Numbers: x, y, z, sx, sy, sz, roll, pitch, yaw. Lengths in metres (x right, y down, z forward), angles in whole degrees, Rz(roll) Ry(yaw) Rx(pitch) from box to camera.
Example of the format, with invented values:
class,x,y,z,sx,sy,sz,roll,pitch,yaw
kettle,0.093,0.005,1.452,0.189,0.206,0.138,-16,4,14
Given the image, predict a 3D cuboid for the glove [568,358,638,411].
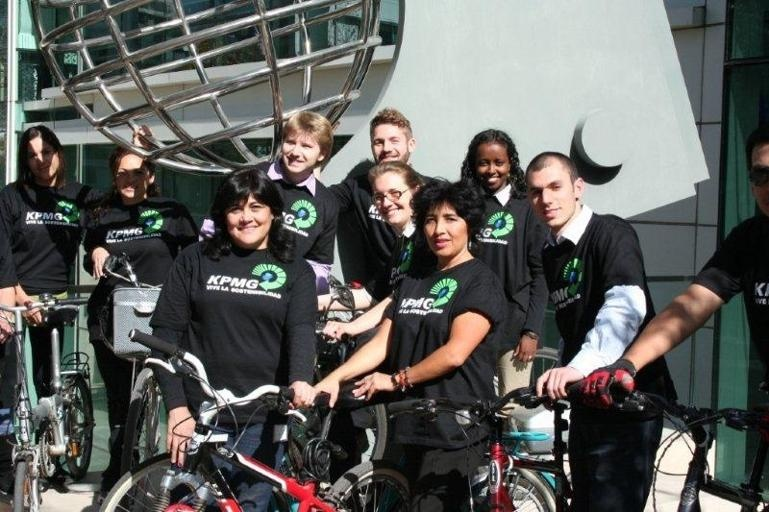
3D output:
class,x,y,z,sx,sy,sz,roll,pitch,yaw
glove,1.071,0.620,3.954,0.323,0.228,0.246,-2,-11,16
